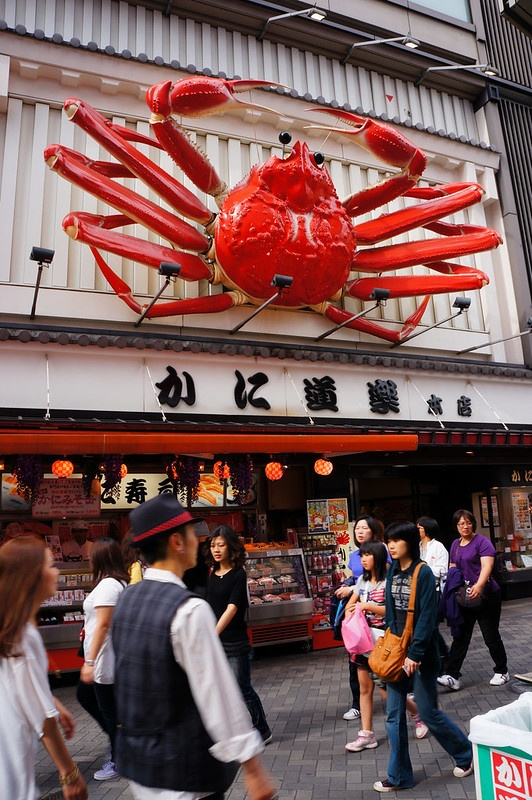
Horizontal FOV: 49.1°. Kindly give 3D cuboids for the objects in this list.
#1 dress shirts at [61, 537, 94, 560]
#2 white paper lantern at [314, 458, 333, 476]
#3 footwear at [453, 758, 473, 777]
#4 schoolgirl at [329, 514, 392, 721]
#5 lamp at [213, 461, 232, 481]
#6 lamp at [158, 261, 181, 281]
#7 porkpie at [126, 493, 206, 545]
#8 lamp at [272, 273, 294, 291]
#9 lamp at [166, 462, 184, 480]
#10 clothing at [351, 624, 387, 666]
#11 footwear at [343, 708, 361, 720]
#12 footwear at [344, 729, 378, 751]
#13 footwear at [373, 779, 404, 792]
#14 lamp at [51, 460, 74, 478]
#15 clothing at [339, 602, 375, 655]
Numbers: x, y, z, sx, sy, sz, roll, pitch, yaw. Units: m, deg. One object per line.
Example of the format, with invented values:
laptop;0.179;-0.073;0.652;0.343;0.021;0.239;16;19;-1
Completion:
dress shirts;-2.712;2.169;8.303;0.500;0.258;0.669;6;3;-19
white paper lantern;0.930;1.062;9.157;0.320;0.303;0.313;-1;-1;-18
footwear;1.263;2.381;3.753;0.085;0.089;0.230;-10;-32;22
schoolgirl;0.826;1.976;5.073;0.590;1.877;0.601;-6;-10;38
lamp;-0.573;1.018;8.229;0.098;0.311;0.324;-9;3;-42
lamp;-1.071;-1.451;6.523;0.255;0.238;0.198;11;-21;-13
porkpie;-0.381;0.399;1.995;0.289;0.125;0.326;-17;-3;-13
lamp;0.167;-1.393;6.942;0.193;0.201;0.281;-8;-11;-9
lamp;-1.228;0.962;7.821;0.203;0.243;0.081;2;3;19
clothing;0.766;1.878;4.384;0.130;0.380;0.277;7;-2;-26
footwear;0.750;2.828;5.204;0.065;0.063;0.160;-11;-29;25
footwear;0.708;2.601;4.437;0.301;0.145;0.103;9;-13;-16
footwear;0.761;2.428;3.668;0.193;0.075;0.069;2;-10;-3
lamp;-2.578;0.866;7.386;0.206;0.206;0.311;-7;-11;-12
clothing;0.690;1.727;4.345;0.231;0.310;0.163;-3;-36;10
